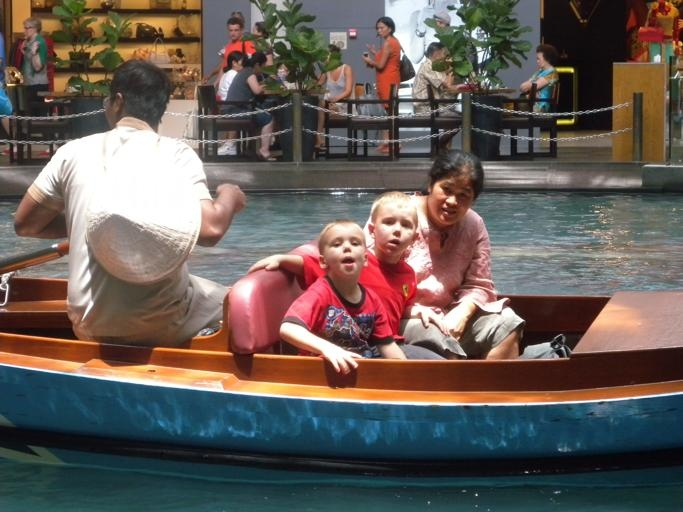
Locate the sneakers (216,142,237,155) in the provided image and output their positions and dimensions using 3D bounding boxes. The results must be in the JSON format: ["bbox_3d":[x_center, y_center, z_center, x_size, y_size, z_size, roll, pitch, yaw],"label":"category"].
[{"bbox_3d":[-1.595,-1.484,12.469,0.356,0.118,0.233,6,-13,8],"label":"sneakers"}]

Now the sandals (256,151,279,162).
[{"bbox_3d":[-1.013,-1.342,12.149,0.122,0.079,0.302,-3,10,-32],"label":"sandals"}]

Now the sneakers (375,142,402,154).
[{"bbox_3d":[0.702,-1.524,12.769,0.501,0.163,0.202,-1,15,21],"label":"sneakers"}]

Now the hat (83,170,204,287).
[{"bbox_3d":[-0.759,-0.113,3.343,0.464,0.422,0.190,-7,-3,-1],"label":"hat"}]

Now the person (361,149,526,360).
[{"bbox_3d":[0.435,0.079,3.964,0.796,1.015,0.647,10,14,42],"label":"person"}]

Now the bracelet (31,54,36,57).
[{"bbox_3d":[-4.404,-2.865,12.882,0.043,0.039,0.010,1,-3,14],"label":"bracelet"}]

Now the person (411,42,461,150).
[{"bbox_3d":[1.340,-2.269,12.331,0.766,1.317,0.573,8,36,2],"label":"person"}]
